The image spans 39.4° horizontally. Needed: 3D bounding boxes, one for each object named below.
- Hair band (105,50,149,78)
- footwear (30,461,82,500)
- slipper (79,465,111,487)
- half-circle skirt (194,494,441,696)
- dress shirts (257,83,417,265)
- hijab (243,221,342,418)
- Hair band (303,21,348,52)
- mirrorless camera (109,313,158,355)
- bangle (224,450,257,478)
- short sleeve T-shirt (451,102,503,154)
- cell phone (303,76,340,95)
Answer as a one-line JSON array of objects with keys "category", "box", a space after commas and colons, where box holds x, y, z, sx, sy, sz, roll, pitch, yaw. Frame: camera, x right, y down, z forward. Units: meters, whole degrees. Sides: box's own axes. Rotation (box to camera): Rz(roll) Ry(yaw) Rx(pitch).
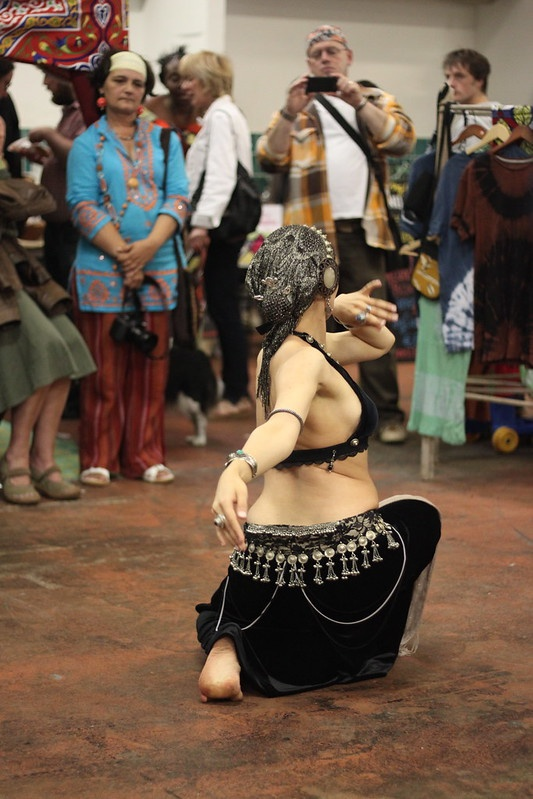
[{"category": "Hair band", "box": [-0.718, -1.747, 3.849, 0.158, 0.109, 0.149, 2, 2, -3]}, {"category": "footwear", "box": [-1.079, 0.423, 3.869, 0.130, 0.132, 0.343, -9, 11, -43]}, {"category": "slipper", "box": [-0.945, 0.414, 4.072, 0.133, 0.055, 0.108, 10, 30, 17]}, {"category": "half-circle skirt", "box": [0.145, 0.471, 1.740, 0.445, 0.539, 0.230, -7, 45, -11]}, {"category": "dress shirts", "box": [0.409, -1.487, 4.766, 0.935, 0.969, 0.678, -4, 0, -6]}, {"category": "hijab", "box": [0.059, -0.190, 1.760, 0.190, 0.440, 0.173, -5, 11, -31]}, {"category": "Hair band", "box": [0.349, -2.171, 4.443, 0.228, 0.111, 0.214, 0, -10, -1]}, {"category": "mirrorless camera", "box": [-0.692, -0.348, 3.985, 0.232, 0.165, 0.286, 14, 6, 12]}, {"category": "bangle", "box": [-0.039, 0.119, 1.336, 0.050, 0.052, 0.020, 8, -9, 3]}, {"category": "short sleeve T-shirt", "box": [1.152, -1.477, 4.056, 0.288, 0.259, 0.129, 20, 41, 41]}, {"category": "cell phone", "box": [0.312, -1.759, 4.160, 0.174, 0.085, 0.142, 1, 9, 2]}]
